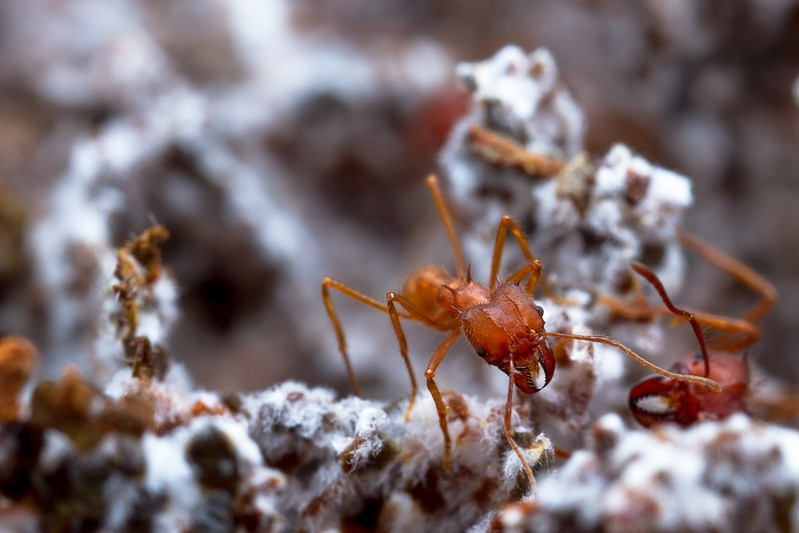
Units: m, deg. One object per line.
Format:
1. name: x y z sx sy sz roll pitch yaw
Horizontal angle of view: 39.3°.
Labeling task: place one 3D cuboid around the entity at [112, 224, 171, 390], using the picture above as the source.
1. entity: -0.781 0.101 3.200 0.112 0.381 0.256 1 16 -40
